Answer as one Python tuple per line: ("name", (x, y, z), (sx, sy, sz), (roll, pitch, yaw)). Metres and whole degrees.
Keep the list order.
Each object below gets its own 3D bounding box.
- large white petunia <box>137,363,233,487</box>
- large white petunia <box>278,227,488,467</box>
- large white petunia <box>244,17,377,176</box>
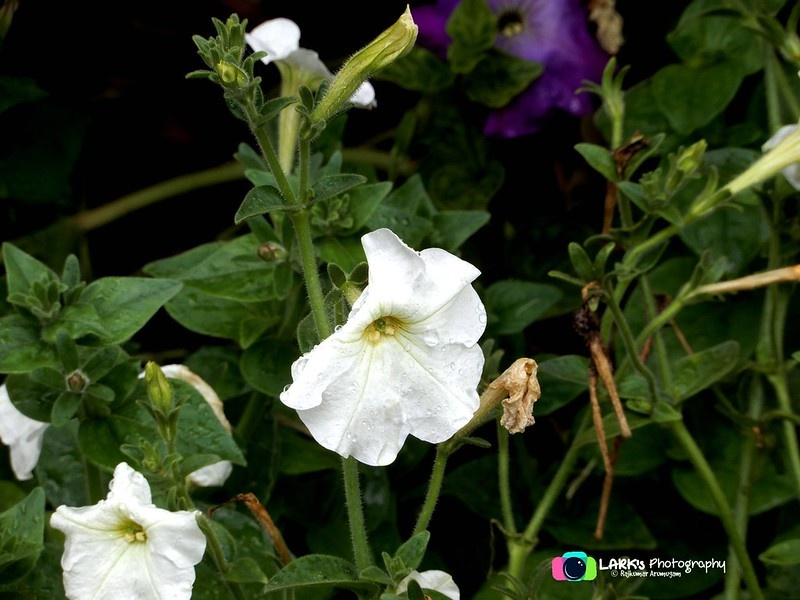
("large white petunia", (-0.329, 0.187, 1.313), (0.119, 0.246, 0.062), (-25, 34, -5))
("large white petunia", (-0.020, 0.061, 1.139), (0.291, 0.315, 0.122), (-16, 8, -16))
("large white petunia", (-0.151, -0.371, 1.481), (0.193, 0.241, 0.325), (-14, 28, -6))
